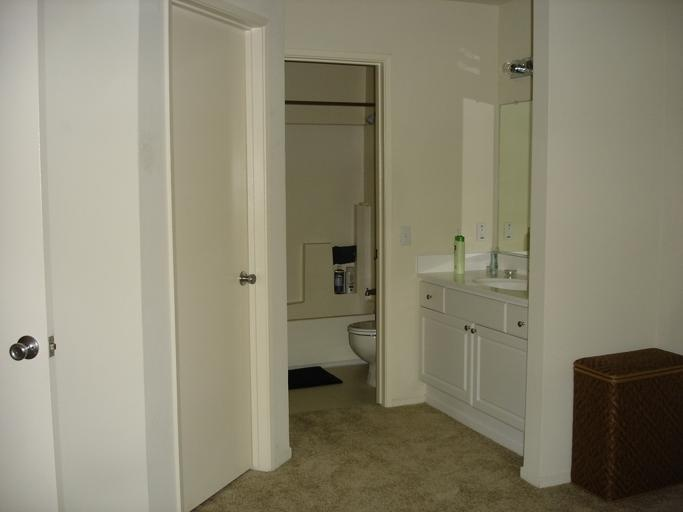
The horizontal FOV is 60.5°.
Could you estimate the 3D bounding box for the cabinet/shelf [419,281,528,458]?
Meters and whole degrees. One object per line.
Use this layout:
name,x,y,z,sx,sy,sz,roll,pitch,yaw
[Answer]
cabinet/shelf,0.839,0.706,3.624,0.331,0.800,0.891,0,3,-20

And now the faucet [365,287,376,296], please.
faucet,0.265,0.328,5.299,0.098,0.115,0.069,3,2,-8

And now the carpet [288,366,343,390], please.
carpet,-0.246,0.998,4.858,0.453,0.044,0.603,-2,8,-13

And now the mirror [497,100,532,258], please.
mirror,1.216,-0.558,4.175,0.084,1.054,0.313,-5,8,-31

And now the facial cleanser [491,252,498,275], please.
facial cleanser,1.096,0.043,4.185,0.044,0.145,0.171,1,8,13

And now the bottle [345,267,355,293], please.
bottle,0.081,0.218,5.328,0.094,0.240,0.054,-1,7,-7

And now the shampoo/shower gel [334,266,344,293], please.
shampoo/shower gel,-0.017,0.227,5.291,0.099,0.234,0.062,-1,7,-1

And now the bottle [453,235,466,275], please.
bottle,0.846,-0.017,4.190,0.079,0.268,0.188,1,7,11
